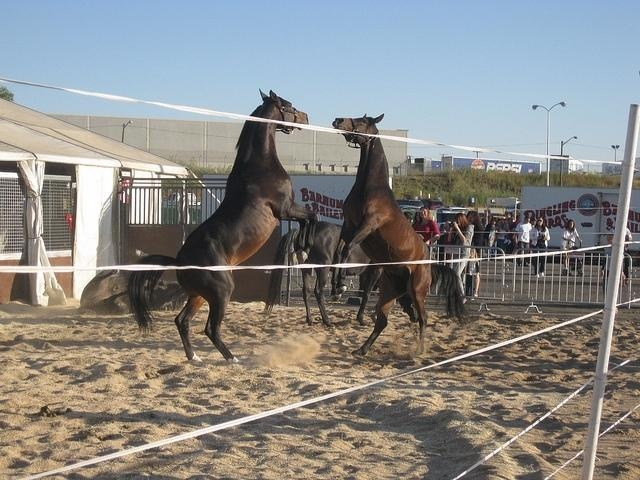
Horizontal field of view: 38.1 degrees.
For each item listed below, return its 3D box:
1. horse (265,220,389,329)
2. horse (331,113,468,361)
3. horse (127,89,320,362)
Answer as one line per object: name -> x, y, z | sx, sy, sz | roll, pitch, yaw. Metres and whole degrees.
horse -> 0.396, 0.482, 16.048 | 2.876, 1.969, 0.711 | 2, -2, -27
horse -> 1.048, -0.025, 13.071 | 1.522, 3.425, 2.790 | 2, 4, 17
horse -> -1.257, -0.176, 12.584 | 2.346, 3.723, 1.212 | 1, 3, -1
